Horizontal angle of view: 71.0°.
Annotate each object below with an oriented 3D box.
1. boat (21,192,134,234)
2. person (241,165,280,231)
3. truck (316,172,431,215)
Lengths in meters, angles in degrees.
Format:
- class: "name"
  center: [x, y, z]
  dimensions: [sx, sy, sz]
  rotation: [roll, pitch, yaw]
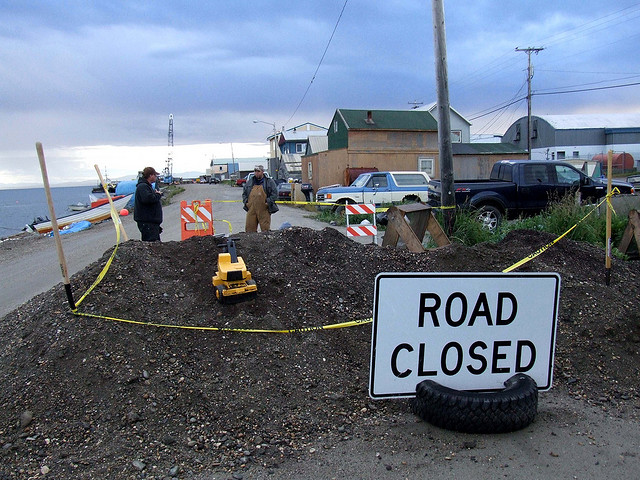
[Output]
- class: "boat"
  center: [-12.398, -1.276, 23.528]
  dimensions: [5.030, 1.423, 1.208]
  rotation: [-14, 11, -18]
- class: "person"
  center: [-1.328, -0.898, 9.948]
  dimensions: [0.794, 1.481, 1.018]
  rotation: [-6, 13, -8]
- class: "truck"
  center: [2.304, -2.100, 18.767]
  dimensions: [3.398, 1.514, 2.097]
  rotation: [0, 4, -4]
